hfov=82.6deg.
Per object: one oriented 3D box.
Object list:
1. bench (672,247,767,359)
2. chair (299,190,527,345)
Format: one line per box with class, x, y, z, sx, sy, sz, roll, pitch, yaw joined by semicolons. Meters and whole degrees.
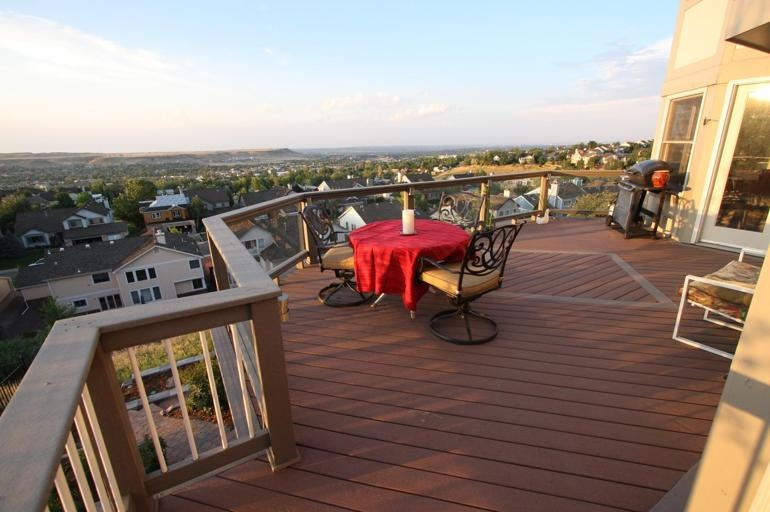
bench;3.158;0.478;4.180;1.141;0.432;0.615;-20;22;-39
chair;0.138;0.101;5.123;2.534;1.100;1.438;17;30;40
